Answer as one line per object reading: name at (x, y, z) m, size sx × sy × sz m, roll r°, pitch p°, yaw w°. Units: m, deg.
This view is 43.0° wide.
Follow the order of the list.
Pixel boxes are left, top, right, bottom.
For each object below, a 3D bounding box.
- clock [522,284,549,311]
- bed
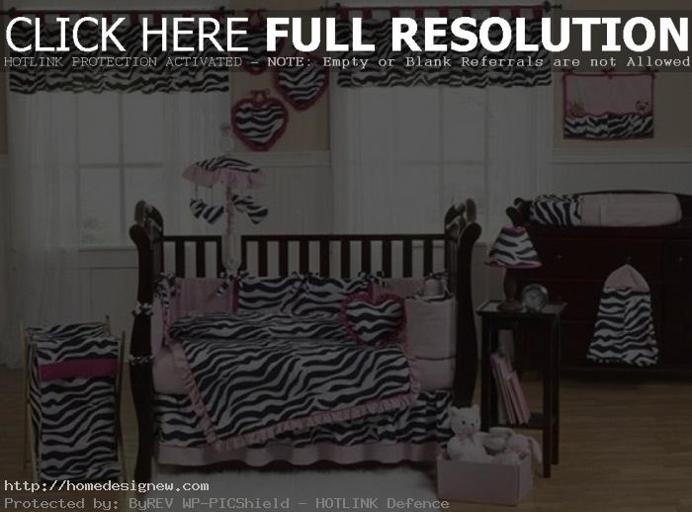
clock at (0.985, 0.203, 4.601) m, size 0.125 × 0.139 × 0.171 m, roll 4°, pitch 16°, yaw 14°
bed at (-0.213, 0.362, 4.804) m, size 1.818 × 1.304 × 0.920 m, roll -1°, pitch 14°, yaw -2°
